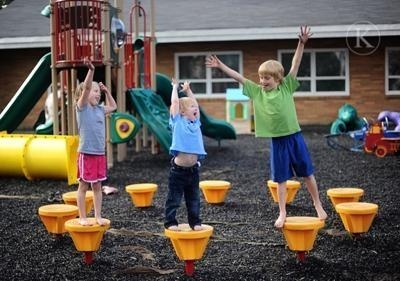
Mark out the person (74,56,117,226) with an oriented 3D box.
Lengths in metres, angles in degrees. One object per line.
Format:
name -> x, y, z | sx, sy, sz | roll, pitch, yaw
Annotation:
person -> -1.794, 0.000, 12.683 | 0.652, 2.747, 1.110 | -1, 13, 3

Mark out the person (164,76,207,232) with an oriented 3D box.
person -> -0.250, 0.255, 12.587 | 0.687, 2.450, 0.967 | 0, 13, 7
